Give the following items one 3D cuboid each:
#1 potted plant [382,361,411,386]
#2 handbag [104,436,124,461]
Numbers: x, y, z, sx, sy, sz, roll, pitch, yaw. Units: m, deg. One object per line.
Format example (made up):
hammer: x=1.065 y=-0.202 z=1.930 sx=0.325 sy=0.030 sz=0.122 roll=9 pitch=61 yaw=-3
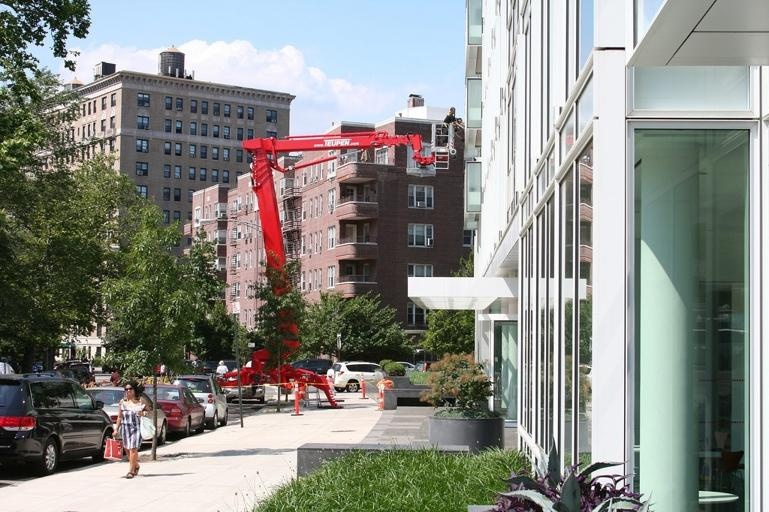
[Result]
potted plant: x=0.485 y=5.398 z=56.173 sx=0.782 sy=0.986 sz=0.975 roll=0 pitch=-4 yaw=-3
handbag: x=-5.389 y=3.825 z=24.065 sx=0.325 sy=0.399 sz=0.617 roll=-2 pitch=-10 yaw=-11
